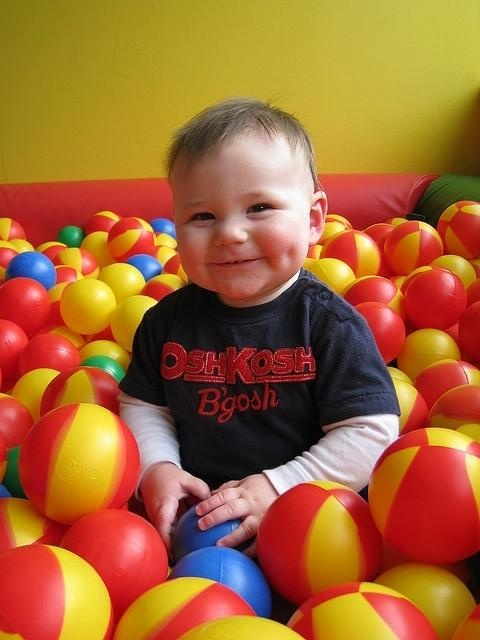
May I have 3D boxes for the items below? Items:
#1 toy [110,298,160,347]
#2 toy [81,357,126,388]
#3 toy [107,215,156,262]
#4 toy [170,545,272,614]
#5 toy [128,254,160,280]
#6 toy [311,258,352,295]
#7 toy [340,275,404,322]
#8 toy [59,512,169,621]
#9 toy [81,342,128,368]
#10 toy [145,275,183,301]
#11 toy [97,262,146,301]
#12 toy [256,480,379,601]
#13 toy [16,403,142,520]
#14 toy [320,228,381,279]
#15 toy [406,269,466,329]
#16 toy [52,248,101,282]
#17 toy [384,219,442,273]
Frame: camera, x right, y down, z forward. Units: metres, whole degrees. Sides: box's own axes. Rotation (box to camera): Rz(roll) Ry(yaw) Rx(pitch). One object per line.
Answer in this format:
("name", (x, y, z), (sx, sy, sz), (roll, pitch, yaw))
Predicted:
("toy", (-0.212, 0.005, 1.124), (0.085, 0.077, 0.090), (-5, 49, 12))
("toy", (-0.271, 0.090, 1.119), (0.076, 0.065, 0.083), (10, 15, 7))
("toy", (-0.340, -0.266, 1.875), (0.160, 0.177, 0.146), (-9, 59, -7))
("toy", (-0.024, 0.268, 0.586), (0.091, 0.087, 0.098), (2, 51, -5))
("toy", (-0.277, -0.150, 1.599), (0.060, 0.067, 0.058), (37, 51, 15))
("toy", (0.195, -0.092, 1.197), (0.077, 0.070, 0.081), (-11, 36, 25))
("toy", (0.289, -0.045, 1.276), (0.106, 0.120, 0.103), (25, 41, -17))
("toy", (-0.121, 0.264, 0.624), (0.109, 0.111, 0.099), (0, -9, -1))
("toy", (-0.302, 0.083, 1.240), (0.091, 0.066, 0.074), (1, -6, -13))
("toy", (-0.179, -0.075, 1.302), (0.076, 0.060, 0.058), (-9, 65, -29))
("toy", (-0.306, -0.096, 1.447), (0.076, 0.075, 0.091), (53, 38, 11))
("toy", (0.069, 0.228, 0.651), (0.139, 0.143, 0.126), (-11, 16, 1))
("toy", (-0.180, 0.164, 0.715), (0.137, 0.156, 0.131), (2, 62, 3))
("toy", (0.274, -0.184, 1.511), (0.144, 0.147, 0.134), (-3, 28, -3))
("toy", (0.421, -0.037, 1.242), (0.145, 0.149, 0.135), (2, -6, 16))
("toy", (-0.508, -0.181, 1.724), (0.116, 0.124, 0.113), (7, 15, -24))
("toy", (0.441, -0.213, 1.558), (0.160, 0.162, 0.150), (3, 15, 3))
